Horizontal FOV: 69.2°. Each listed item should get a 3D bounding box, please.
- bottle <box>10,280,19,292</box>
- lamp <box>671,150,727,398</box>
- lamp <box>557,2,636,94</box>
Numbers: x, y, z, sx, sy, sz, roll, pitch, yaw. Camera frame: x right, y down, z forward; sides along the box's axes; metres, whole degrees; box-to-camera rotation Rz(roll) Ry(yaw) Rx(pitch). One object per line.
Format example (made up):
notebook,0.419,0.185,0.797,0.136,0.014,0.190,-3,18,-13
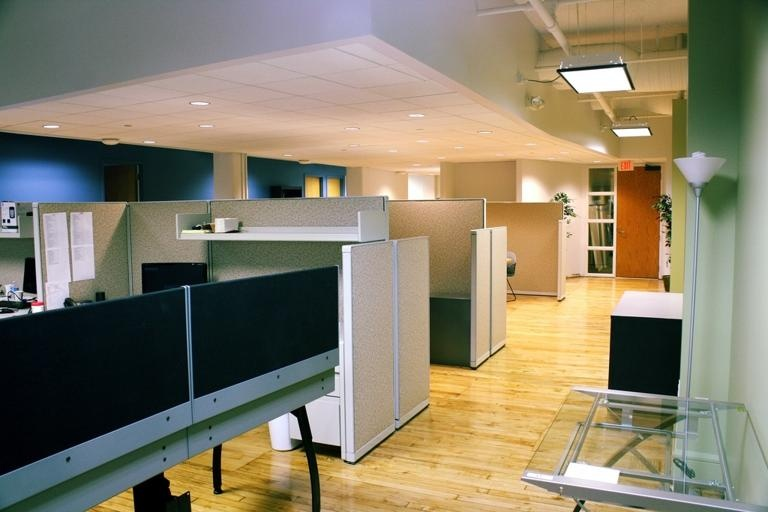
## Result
bottle,-3.592,0.295,5.496,0.084,0.109,0.111,1,-2,-24
lamp,2.047,0.130,3.623,0.265,1.645,0.386,1,2,31
lamp,2.107,-1.843,5.517,0.567,0.204,0.854,1,2,29
